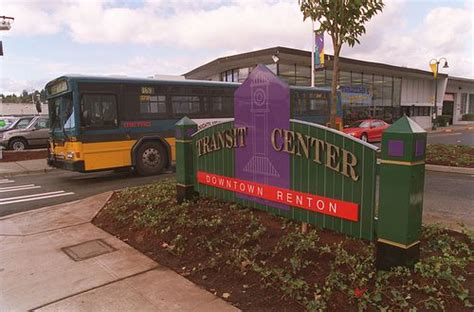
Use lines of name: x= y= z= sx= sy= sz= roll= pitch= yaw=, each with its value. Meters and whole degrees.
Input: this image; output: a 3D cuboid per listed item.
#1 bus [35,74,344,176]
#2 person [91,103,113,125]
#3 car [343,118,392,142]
bus: x=-0.955 y=-1.800 z=16.529 sx=14.542 sy=4.044 sz=3.618 roll=-7 pitch=9 yaw=-33
person: x=-5.259 y=-1.662 z=12.171 sx=0.941 sy=0.905 sz=0.315 roll=-7 pitch=13 yaw=-22
car: x=9.571 y=-1.733 z=22.870 sx=2.199 sy=1.705 sz=3.724 roll=6 pitch=15 yaw=34
